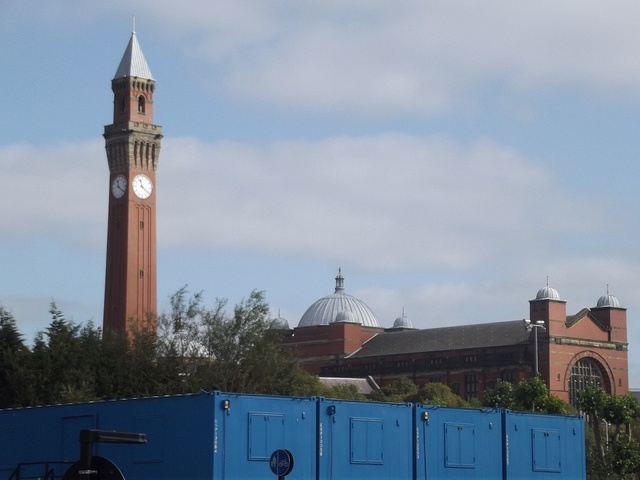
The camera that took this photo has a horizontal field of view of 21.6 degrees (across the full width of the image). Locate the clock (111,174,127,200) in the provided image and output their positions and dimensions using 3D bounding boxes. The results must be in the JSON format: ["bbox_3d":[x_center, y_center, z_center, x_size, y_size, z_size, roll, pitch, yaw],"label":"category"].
[{"bbox_3d":[-17.905,-4.744,147.109,0.135,2.175,2.157,8,-9,-42],"label":"clock"}]

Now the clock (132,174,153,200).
[{"bbox_3d":[-16.013,-4.768,147.173,2.135,2.139,0.163,6,-10,-40],"label":"clock"}]
